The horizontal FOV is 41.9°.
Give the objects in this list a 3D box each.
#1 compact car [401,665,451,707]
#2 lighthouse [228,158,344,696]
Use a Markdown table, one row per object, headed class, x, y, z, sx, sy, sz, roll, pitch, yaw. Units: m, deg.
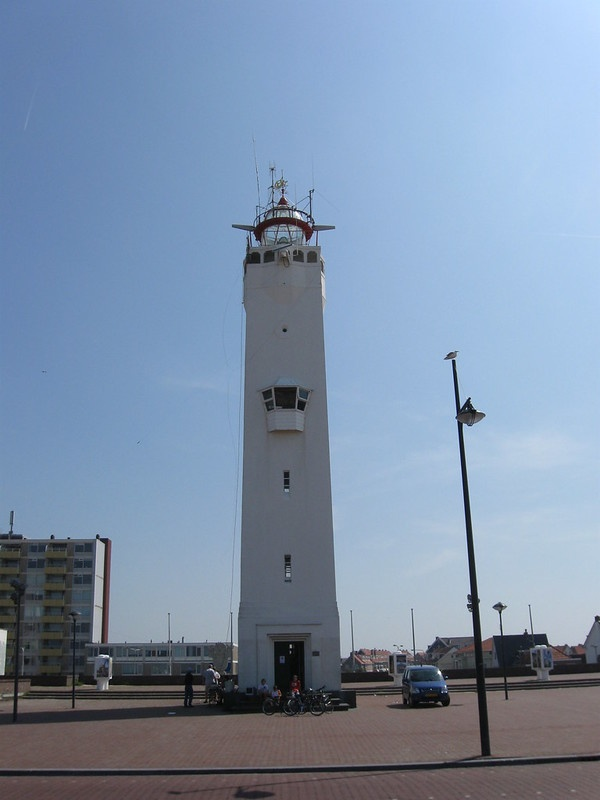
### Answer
| class | x | y | z | sx | sy | sz | roll | pitch | yaw |
| --- | --- | --- | --- | --- | --- | --- | --- | --- | --- |
| compact car | 4.851 | 11.202 | 30.522 | 1.148 | 1.044 | 2.101 | 0 | -30 | 0 |
| lighthouse | -0.656 | 2.148 | 34.614 | 3.872 | 20.148 | 2.098 | -3 | -14 | 0 |
